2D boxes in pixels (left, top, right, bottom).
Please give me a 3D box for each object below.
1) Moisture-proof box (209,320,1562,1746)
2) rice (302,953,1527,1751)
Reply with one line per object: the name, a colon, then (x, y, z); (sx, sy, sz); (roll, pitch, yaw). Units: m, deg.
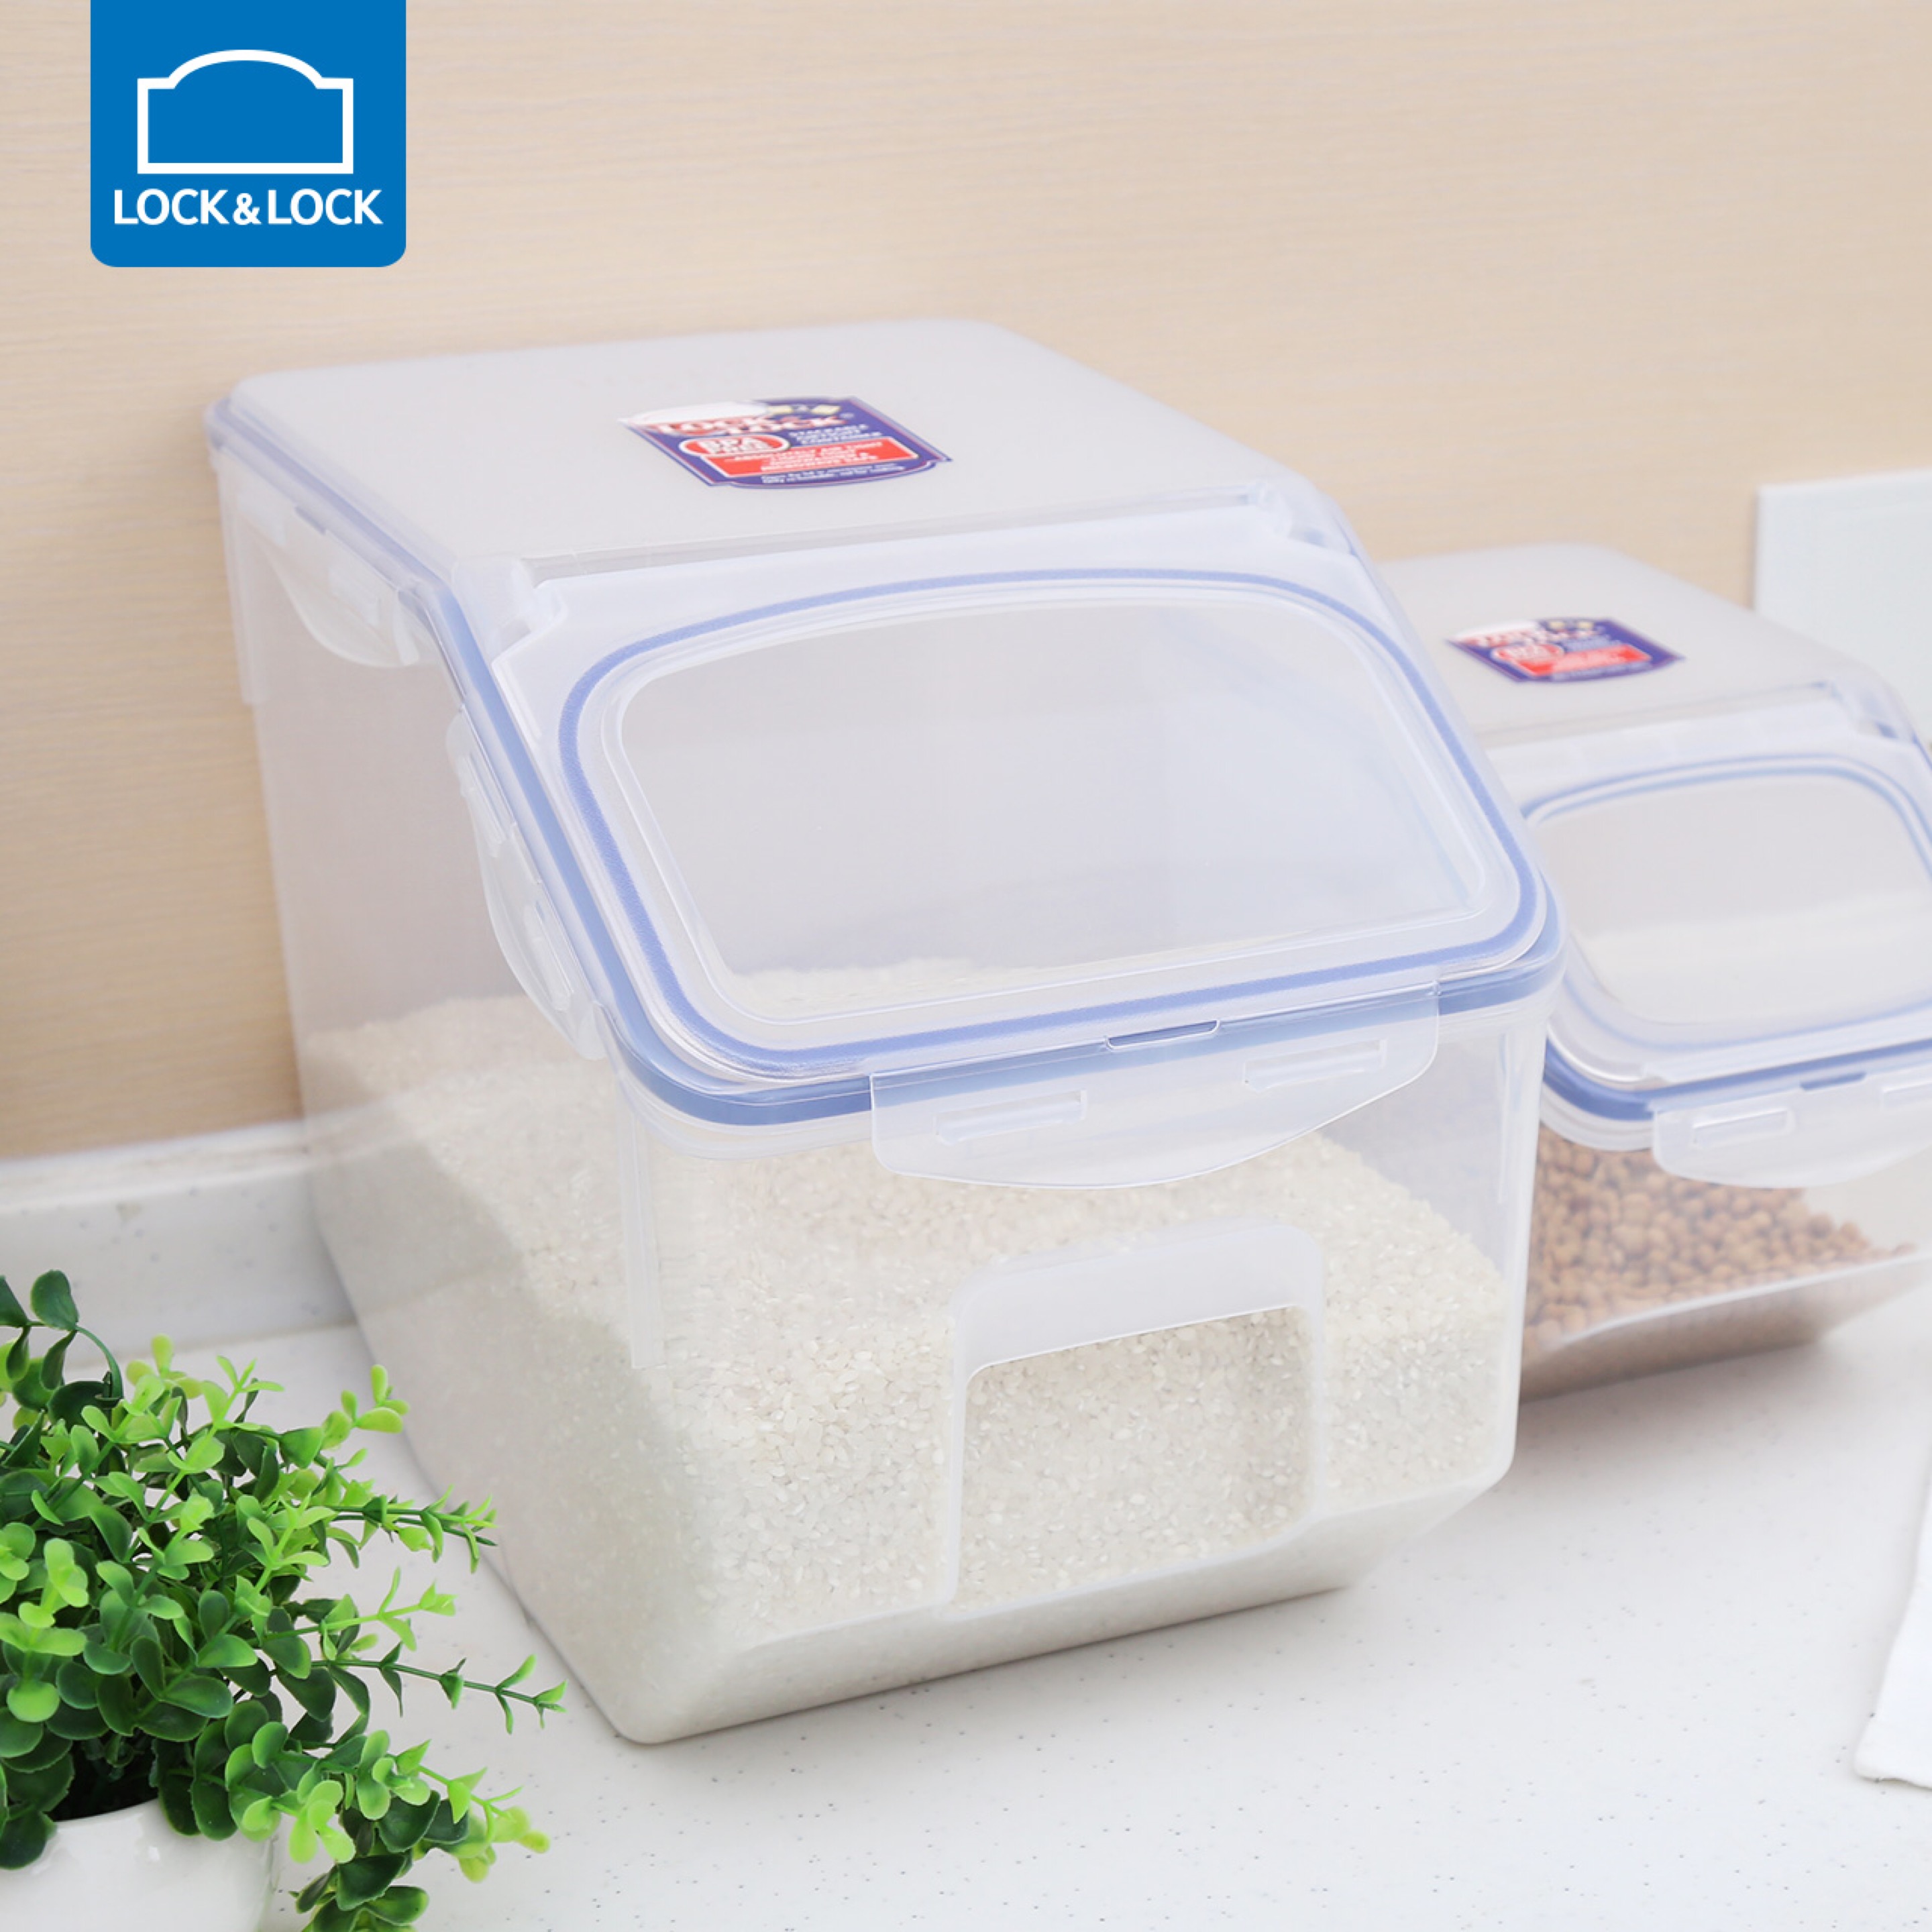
Moisture-proof box: (-0.055, -0.042, 0.895); (0.481, 0.387, 0.567); (-11, 29, -25)
rice: (-0.029, 0.104, 0.751); (0.302, 0.143, 0.356); (-7, 13, -29)
